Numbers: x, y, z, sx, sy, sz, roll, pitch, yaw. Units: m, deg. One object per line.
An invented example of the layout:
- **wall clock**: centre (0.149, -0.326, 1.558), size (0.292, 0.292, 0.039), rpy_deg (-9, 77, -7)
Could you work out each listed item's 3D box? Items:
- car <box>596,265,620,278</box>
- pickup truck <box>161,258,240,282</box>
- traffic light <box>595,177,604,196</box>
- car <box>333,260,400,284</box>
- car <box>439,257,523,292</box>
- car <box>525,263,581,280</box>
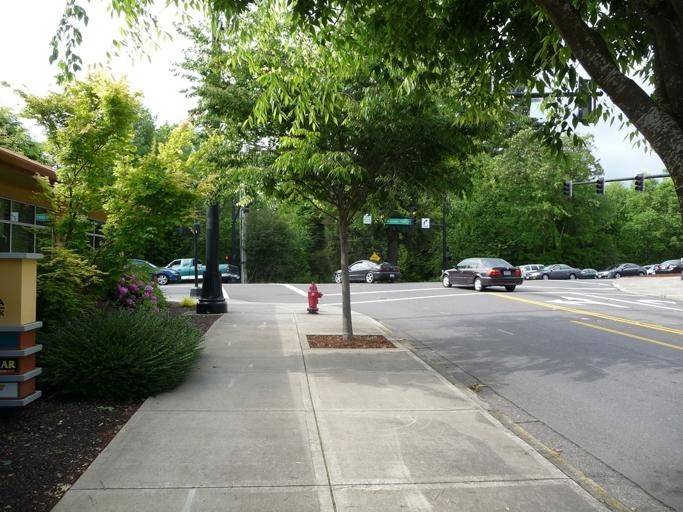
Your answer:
- **car**: centre (23.509, 1.481, 49.468), size (2.277, 0.699, 1.030), rpy_deg (3, -6, -34)
- **pickup truck**: centre (-7.607, 0.800, 30.198), size (3.727, 1.253, 1.642), rpy_deg (2, -5, -7)
- **traffic light**: centre (14.204, -3.874, 30.870), size (0.369, 0.908, 3.707), rpy_deg (4, 4, 27)
- **car**: centre (1.646, 1.167, 35.562), size (3.029, 0.960, 1.761), rpy_deg (2, 0, 40)
- **car**: centre (6.409, 0.849, 26.329), size (1.514, 1.078, 3.333), rpy_deg (2, 1, -21)
- **car**: centre (16.805, 1.260, 43.788), size (5.036, 1.067, 1.412), rpy_deg (0, 4, -29)
